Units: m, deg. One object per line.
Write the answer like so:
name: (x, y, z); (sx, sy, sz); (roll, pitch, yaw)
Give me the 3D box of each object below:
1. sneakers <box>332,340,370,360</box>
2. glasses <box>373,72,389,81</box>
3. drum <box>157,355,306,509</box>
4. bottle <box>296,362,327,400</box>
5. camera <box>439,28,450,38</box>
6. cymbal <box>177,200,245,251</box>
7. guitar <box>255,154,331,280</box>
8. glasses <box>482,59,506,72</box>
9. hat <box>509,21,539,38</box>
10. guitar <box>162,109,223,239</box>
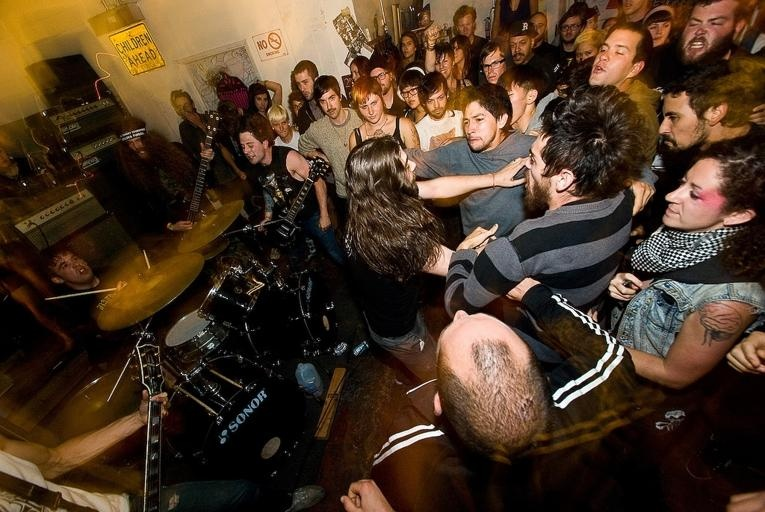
sneakers: (-0.438, 1.260, 6.533); (0.346, 0.090, 0.254); (-19, 22, -9)
glasses: (-0.040, -2.816, 7.634); (0.193, 0.125, 0.068); (-15, 36, 0)
drum: (-1.663, 1.878, 5.702); (1.129, 1.252, 1.124); (5, 47, 32)
bottle: (-0.930, 1.596, 6.124); (0.182, 0.309, 0.307); (-39, 50, -10)
camera: (1.535, -5.446, 11.842); (0.268, 0.262, 0.089); (5, 11, 33)
cymbal: (-2.394, -0.402, 6.680); (1.041, 0.249, 0.786); (-31, 39, -20)
guitar: (-1.230, -0.686, 6.636); (0.592, 1.432, 0.219); (5, 39, -38)
glasses: (1.607, -2.811, 7.145); (0.300, 0.142, 0.146); (-1, 38, 18)
hat: (2.412, -3.782, 8.215); (0.344, 0.230, 0.479); (21, 43, 41)
guitar: (-2.838, -1.018, 7.356); (0.811, 2.215, 0.261); (7, 0, -6)
